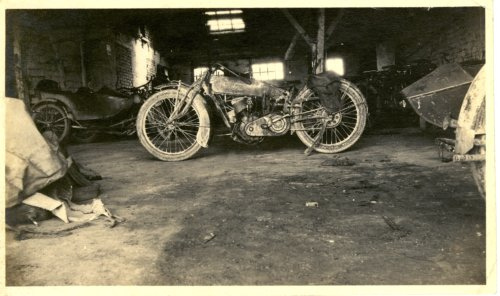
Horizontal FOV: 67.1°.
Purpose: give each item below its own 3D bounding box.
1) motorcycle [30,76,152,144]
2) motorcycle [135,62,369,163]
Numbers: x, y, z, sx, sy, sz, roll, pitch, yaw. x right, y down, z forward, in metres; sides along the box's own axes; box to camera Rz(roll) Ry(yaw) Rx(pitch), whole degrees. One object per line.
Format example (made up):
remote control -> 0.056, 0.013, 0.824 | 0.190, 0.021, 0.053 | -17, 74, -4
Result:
motorcycle -> -3.281, -0.858, 8.536 | 3.409, 1.593, 1.496 | -1, -11, -34
motorcycle -> 0.014, -0.672, 6.360 | 3.969, 1.506, 1.217 | -3, 1, 3
